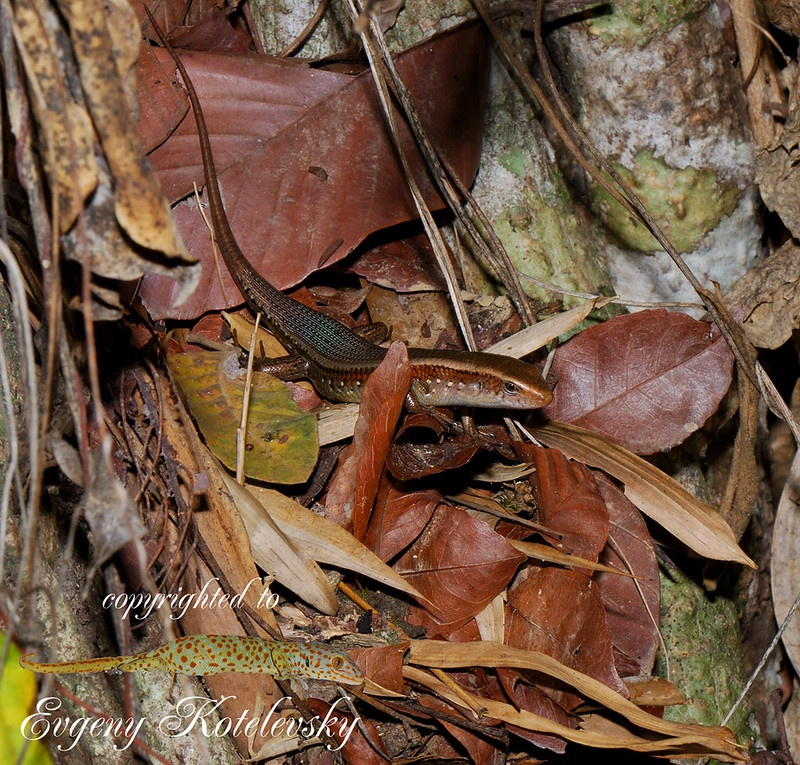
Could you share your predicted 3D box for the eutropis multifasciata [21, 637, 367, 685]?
[{"bbox_3d":[-0.444,0.597,2.026,0.728,0.155,0.113,4,78,-5],"label":"eutropis multifasciata"}]
